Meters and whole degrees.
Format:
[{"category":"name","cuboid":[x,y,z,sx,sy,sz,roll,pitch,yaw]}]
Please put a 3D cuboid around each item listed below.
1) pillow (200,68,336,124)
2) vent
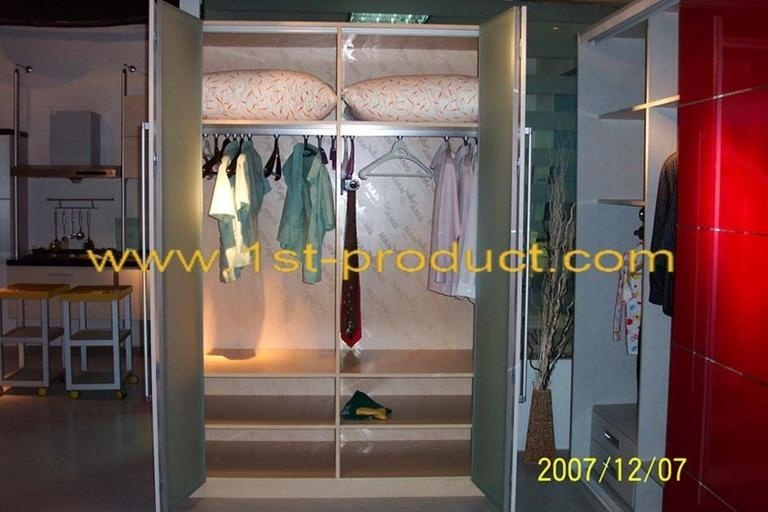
[{"category":"pillow","cuboid":[-0.819,-1.149,5.026,0.937,0.343,0.183,-1,15,-4]},{"category":"vent","cuboid":[-3.189,-1.105,7.153,0.942,0.685,0.608,-2,3,-18]}]
